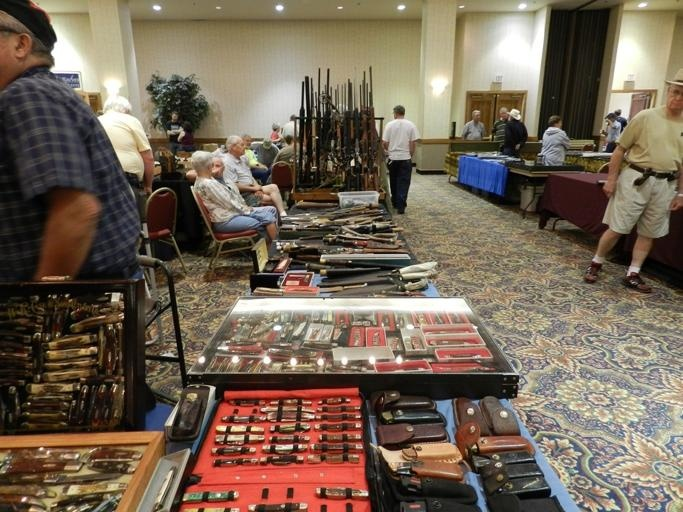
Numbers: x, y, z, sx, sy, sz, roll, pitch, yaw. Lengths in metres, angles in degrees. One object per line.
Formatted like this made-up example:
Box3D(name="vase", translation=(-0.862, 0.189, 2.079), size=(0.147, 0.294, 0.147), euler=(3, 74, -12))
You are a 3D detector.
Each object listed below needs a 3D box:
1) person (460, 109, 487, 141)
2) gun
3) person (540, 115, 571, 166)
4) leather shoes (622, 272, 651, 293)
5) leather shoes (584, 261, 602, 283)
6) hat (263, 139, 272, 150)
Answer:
Box3D(name="person", translation=(3.375, -3.274, 11.139), size=(0.474, 0.695, 0.606), euler=(-4, 20, -2))
Box3D(name="gun", translation=(-0.073, -1.399, 5.099), size=(0.977, 1.247, 0.729), euler=(1, 22, 10))
Box3D(name="person", translation=(3.885, -1.952, 7.959), size=(0.514, 1.211, 0.399), euler=(-11, 41, 14))
Box3D(name="leather shoes", translation=(2.894, 0.255, 4.244), size=(0.134, 0.134, 0.342), euler=(-11, 13, -12))
Box3D(name="leather shoes", translation=(2.546, 0.176, 4.480), size=(0.130, 0.108, 0.335), euler=(3, 9, 21))
Box3D(name="hat", translation=(-1.494, -2.266, 8.873), size=(0.174, 0.162, 0.196), euler=(-2, 37, -10))
